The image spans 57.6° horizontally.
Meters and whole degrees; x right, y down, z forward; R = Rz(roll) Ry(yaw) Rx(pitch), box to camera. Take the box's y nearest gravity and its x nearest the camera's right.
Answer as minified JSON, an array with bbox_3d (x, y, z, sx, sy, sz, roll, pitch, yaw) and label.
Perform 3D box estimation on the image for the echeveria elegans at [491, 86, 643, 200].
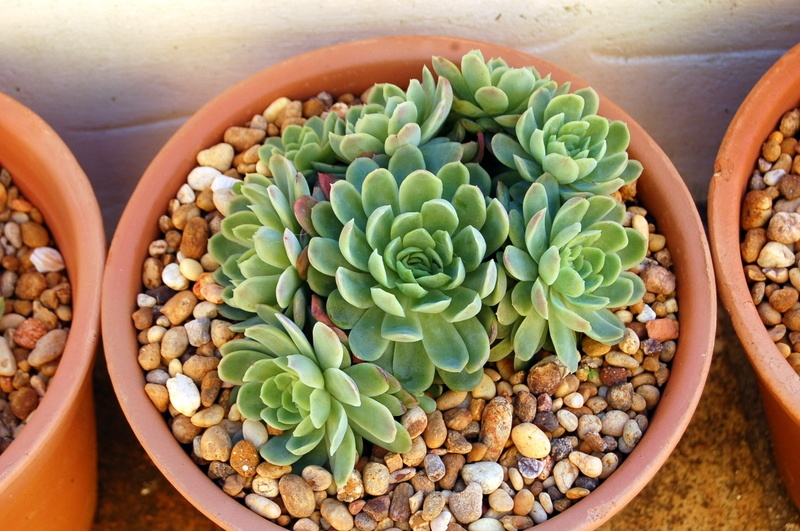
[{"bbox_3d":[0.361,-0.255,1.573,0.238,0.102,0.267,13,76,-5],"label":"echeveria elegans"}]

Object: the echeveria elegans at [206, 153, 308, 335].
[{"bbox_3d":[-0.263,-0.044,1.576,0.272,0.137,0.373,-4,87,38],"label":"echeveria elegans"}]

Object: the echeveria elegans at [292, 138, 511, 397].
[{"bbox_3d":[0.029,-0.004,1.534,0.426,0.197,0.489,15,87,0],"label":"echeveria elegans"}]

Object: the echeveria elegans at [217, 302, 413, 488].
[{"bbox_3d":[-0.181,0.259,1.449,0.321,0.114,0.262,2,42,22],"label":"echeveria elegans"}]

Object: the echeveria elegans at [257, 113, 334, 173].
[{"bbox_3d":[-0.237,-0.258,1.680,0.173,0.074,0.143,-12,64,29],"label":"echeveria elegans"}]
